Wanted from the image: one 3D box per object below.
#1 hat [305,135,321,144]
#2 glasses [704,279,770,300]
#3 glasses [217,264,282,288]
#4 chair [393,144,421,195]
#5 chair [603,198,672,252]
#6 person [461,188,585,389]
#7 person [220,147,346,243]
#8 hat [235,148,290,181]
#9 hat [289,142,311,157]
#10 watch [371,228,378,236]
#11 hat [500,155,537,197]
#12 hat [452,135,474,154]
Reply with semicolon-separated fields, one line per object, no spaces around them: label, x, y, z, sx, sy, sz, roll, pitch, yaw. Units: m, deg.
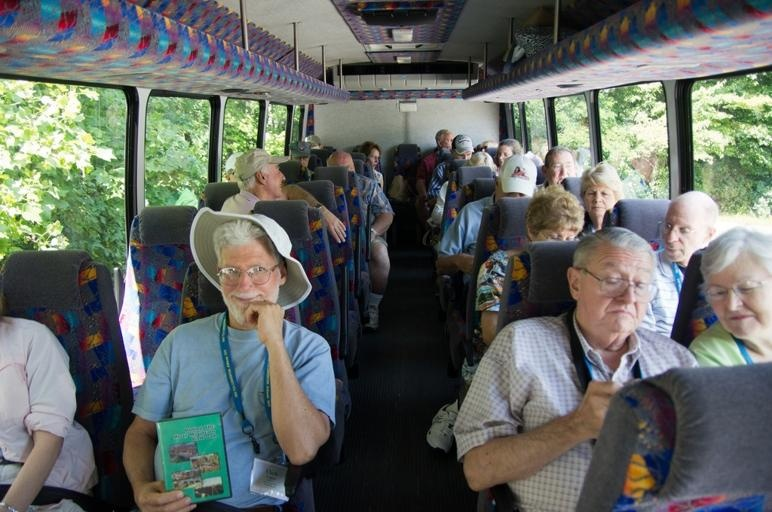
hat;-1.364;-2.140;10.756;0.340;0.157;0.474;-1;9;-9
glasses;1.630;0.161;2.669;0.242;0.121;0.047;6;12;25
glasses;-0.651;0.088;2.743;0.277;0.094;0.074;-2;11;-10
chair;0.494;-1.974;12.642;0.776;1.129;0.960;0;0;-2
chair;1.652;-0.234;3.908;0.416;0.407;0.420;3;4;15
person;0.892;0.167;3.539;0.731;1.087;0.900;4;21;-1
person;-0.799;-0.463;5.087;1.012;0.999;0.711;-8;7;1
hat;-1.108;-0.797;5.051;0.363;0.153;0.227;-21;23;-30
hat;-1.347;-1.635;9.026;0.280;0.146;0.380;1;18;4
watch;-0.149;-0.310;7.267;0.084;0.025;0.085;6;18;-2
hat;1.122;-0.665;4.917;0.269;0.205;0.401;4;31;1
hat;1.241;-1.820;9.496;0.281;0.221;0.385;-5;16;-3
